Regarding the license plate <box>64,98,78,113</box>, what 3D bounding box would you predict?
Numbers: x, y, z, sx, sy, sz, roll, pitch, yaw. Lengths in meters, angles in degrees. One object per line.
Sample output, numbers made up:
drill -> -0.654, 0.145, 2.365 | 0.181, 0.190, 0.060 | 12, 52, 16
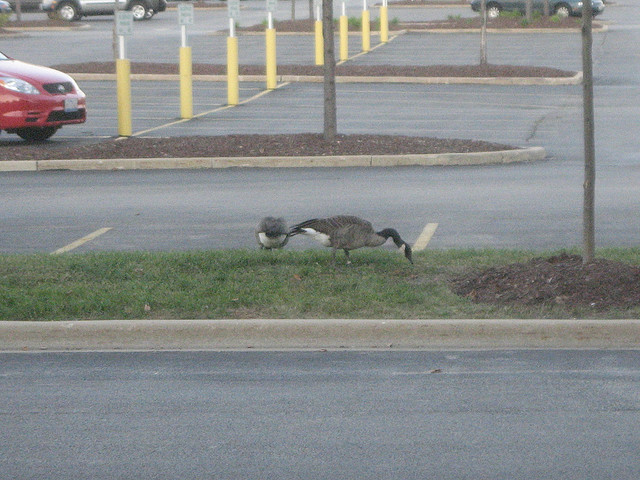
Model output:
license plate -> -5.280, -2.867, 40.132 | 0.041, 0.265, 0.303 | -11, -2, 36

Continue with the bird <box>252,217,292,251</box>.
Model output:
bird -> -0.785, -0.084, 31.892 | 0.598, 0.617, 0.518 | -3, 14, 0
